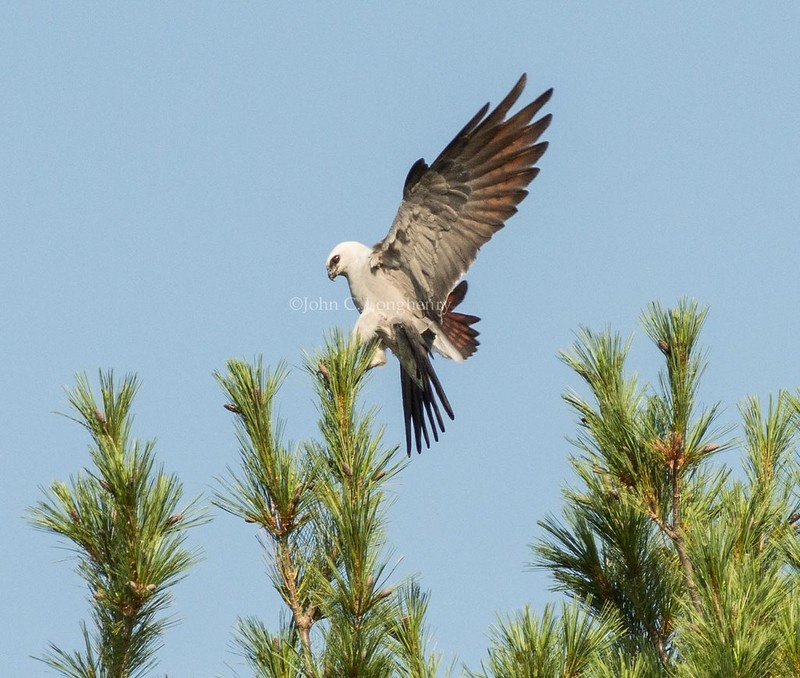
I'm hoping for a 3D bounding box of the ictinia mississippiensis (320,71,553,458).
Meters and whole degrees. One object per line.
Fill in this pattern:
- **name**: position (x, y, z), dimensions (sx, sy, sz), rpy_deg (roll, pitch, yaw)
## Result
- **ictinia mississippiensis**: position (0.142, -0.370, 10.166), dimensions (0.549, 0.830, 1.518), rpy_deg (22, -41, -5)
